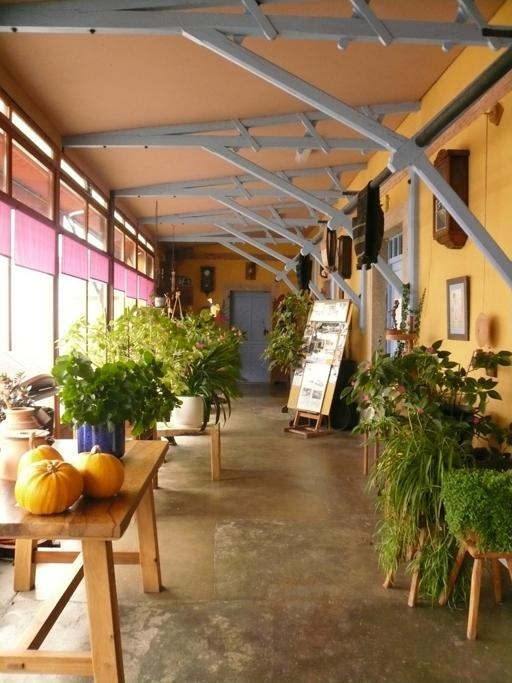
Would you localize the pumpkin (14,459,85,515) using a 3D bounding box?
[{"bbox_3d":[-0.525,0.341,1.278,0.133,0.119,0.131,2,1,-37],"label":"pumpkin"}]

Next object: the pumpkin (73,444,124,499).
[{"bbox_3d":[-0.418,0.352,1.414,0.142,0.129,0.142,-13,-12,23],"label":"pumpkin"}]

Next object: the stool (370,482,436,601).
[{"bbox_3d":[0.671,0.889,2.280,0.281,0.389,0.204,5,-2,38],"label":"stool"}]

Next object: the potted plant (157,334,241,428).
[{"bbox_3d":[-0.377,0.297,3.906,0.593,0.723,0.725,1,5,-15],"label":"potted plant"}]
